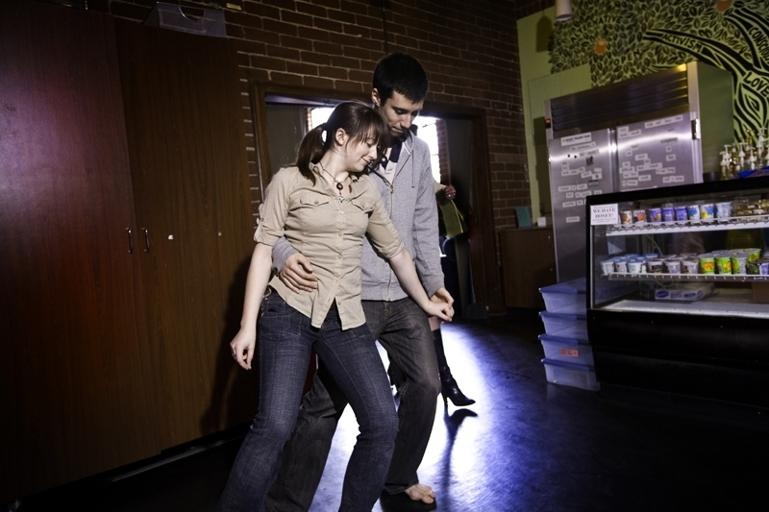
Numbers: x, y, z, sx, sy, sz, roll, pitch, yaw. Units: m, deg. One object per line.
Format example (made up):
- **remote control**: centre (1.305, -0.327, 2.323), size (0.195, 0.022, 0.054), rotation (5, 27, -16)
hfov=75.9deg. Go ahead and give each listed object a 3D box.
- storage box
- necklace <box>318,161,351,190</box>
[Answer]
- **storage box**: centre (1.524, 0.636, 4.086), size (0.462, 0.811, 0.429), rotation (0, 12, 26)
- **necklace**: centre (-0.240, -0.375, 2.419), size (0.153, 0.045, 0.112), rotation (48, 30, 15)
